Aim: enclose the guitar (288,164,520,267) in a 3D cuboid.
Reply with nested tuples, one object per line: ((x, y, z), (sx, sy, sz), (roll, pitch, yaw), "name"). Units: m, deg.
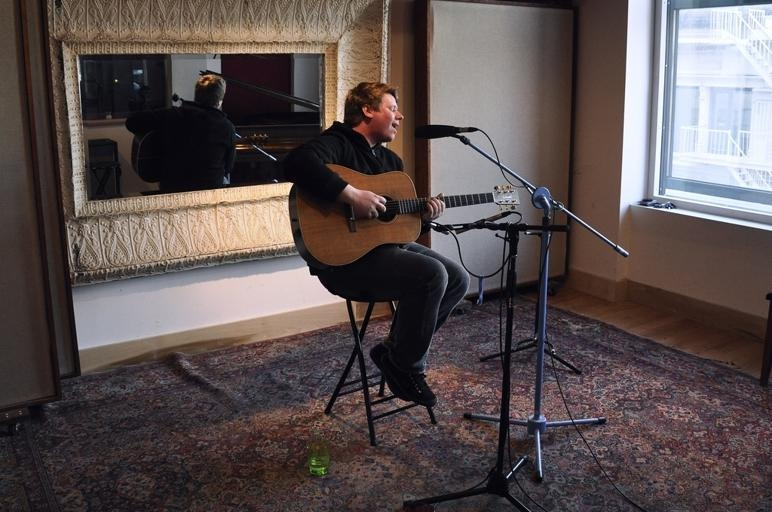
((-0.025, -0.290, 3.742), (1.106, 0.576, 0.268), (-11, 21, -23), "guitar")

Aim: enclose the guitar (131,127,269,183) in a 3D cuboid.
((-1.340, -0.727, 4.567), (1.059, 0.453, 0.040), (-11, 20, -22), "guitar")

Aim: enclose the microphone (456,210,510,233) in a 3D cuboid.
((0.655, -0.246, 4.216), (0.282, 0.034, 0.120), (-8, 56, -10), "microphone")

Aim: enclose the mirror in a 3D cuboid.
((-1.331, -1.114, 4.599), (0.046, 1.283, 2.176), (24, 23, 38), "mirror")

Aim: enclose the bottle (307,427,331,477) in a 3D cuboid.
((-0.391, 1.140, 3.513), (0.128, 0.172, 0.191), (-4, 20, -6), "bottle")
